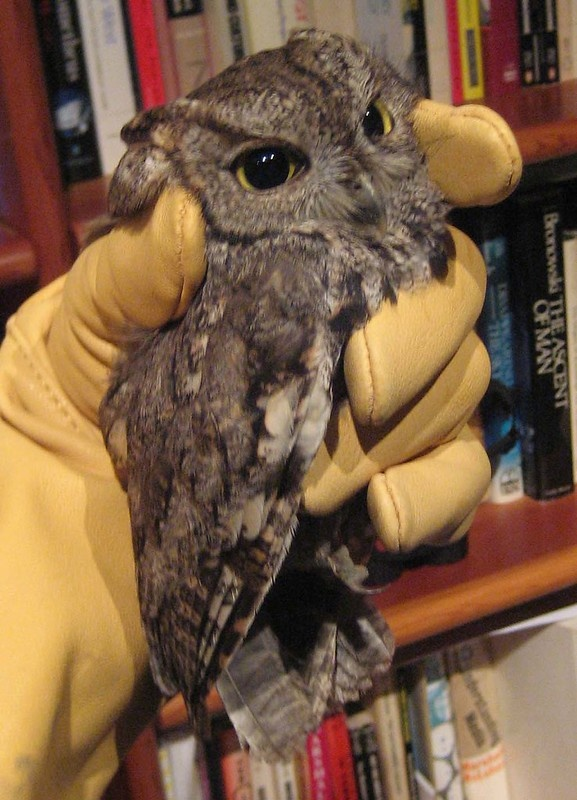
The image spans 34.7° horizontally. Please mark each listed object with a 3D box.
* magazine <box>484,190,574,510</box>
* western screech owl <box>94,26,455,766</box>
[{"bbox_3d":[0.193,-0.031,0.742,0.046,0.199,0.129,4,11,30],"label":"magazine"},{"bbox_3d":[-0.008,0.018,0.397,0.171,0.314,0.107,-7,21,11],"label":"western screech owl"}]
